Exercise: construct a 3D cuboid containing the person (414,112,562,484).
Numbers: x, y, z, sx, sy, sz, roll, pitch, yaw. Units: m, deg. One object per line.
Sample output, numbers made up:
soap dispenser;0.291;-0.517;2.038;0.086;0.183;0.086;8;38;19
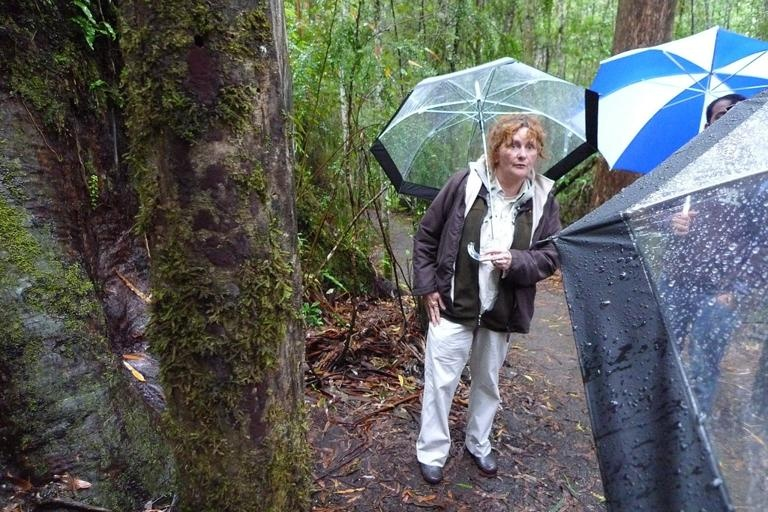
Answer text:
person;0.693;0.374;4.367;0.988;2.706;0.902;5;9;2
